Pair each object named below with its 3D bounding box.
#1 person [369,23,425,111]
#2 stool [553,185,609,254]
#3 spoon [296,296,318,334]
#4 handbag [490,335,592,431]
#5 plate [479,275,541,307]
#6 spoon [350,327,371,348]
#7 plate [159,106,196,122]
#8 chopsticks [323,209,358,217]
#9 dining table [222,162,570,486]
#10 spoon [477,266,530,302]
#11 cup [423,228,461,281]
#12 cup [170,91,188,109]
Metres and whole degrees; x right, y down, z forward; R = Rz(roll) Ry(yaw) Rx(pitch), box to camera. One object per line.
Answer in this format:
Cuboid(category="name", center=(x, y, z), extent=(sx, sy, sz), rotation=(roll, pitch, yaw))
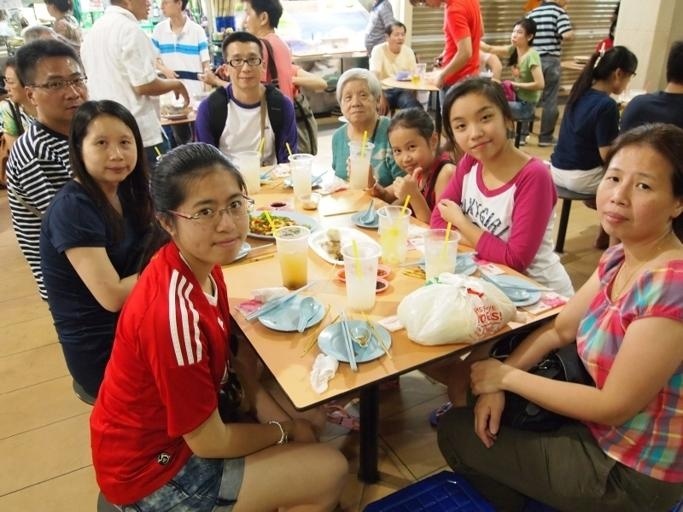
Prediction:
Cuboid(category="person", center=(0.724, -2.400, 6.857), extent=(0.653, 1.281, 0.861), rotation=(-7, 27, -8))
Cuboid(category="stool", center=(1.774, -0.260, 3.920), extent=(0.373, 0.390, 0.359), rotation=(-17, 42, -8))
Cuboid(category="spoon", center=(-0.134, 0.226, 2.023), extent=(0.049, 0.024, 0.141), rotation=(4, 38, 10))
Cuboid(category="handbag", center=(0.754, 0.487, 1.952), extent=(0.339, 0.123, 0.255), rotation=(-44, 42, 13))
Cuboid(category="plate", center=(0.705, 0.128, 2.138), extent=(0.157, 0.039, 0.141), rotation=(13, 30, 22))
Cuboid(category="spoon", center=(0.072, 0.292, 1.909), extent=(0.054, 0.025, 0.055), rotation=(-8, 41, -8))
Cuboid(category="plate", center=(-1.474, -1.274, 4.715), extent=(0.239, 0.090, 0.241), rotation=(5, 24, 38))
Cuboid(category="chopsticks", center=(-0.008, -0.237, 2.839), extent=(0.180, 0.025, 0.021), rotation=(-10, 16, -23))
Cuboid(category="dining table", center=(0.138, 0.232, 2.094), extent=(0.967, 0.597, 1.178), rotation=(-18, 40, -21))
Cuboid(category="spoon", center=(0.697, 0.128, 2.148), extent=(0.154, 0.037, 0.128), rotation=(24, 40, 31))
Cuboid(category="cup", center=(0.406, -0.004, 2.139), extent=(0.173, 0.218, 0.152), rotation=(-5, 19, -13))
Cuboid(category="cup", center=(-1.492, -1.439, 4.803), extent=(0.170, 0.163, 0.304), rotation=(-9, 27, -20))
